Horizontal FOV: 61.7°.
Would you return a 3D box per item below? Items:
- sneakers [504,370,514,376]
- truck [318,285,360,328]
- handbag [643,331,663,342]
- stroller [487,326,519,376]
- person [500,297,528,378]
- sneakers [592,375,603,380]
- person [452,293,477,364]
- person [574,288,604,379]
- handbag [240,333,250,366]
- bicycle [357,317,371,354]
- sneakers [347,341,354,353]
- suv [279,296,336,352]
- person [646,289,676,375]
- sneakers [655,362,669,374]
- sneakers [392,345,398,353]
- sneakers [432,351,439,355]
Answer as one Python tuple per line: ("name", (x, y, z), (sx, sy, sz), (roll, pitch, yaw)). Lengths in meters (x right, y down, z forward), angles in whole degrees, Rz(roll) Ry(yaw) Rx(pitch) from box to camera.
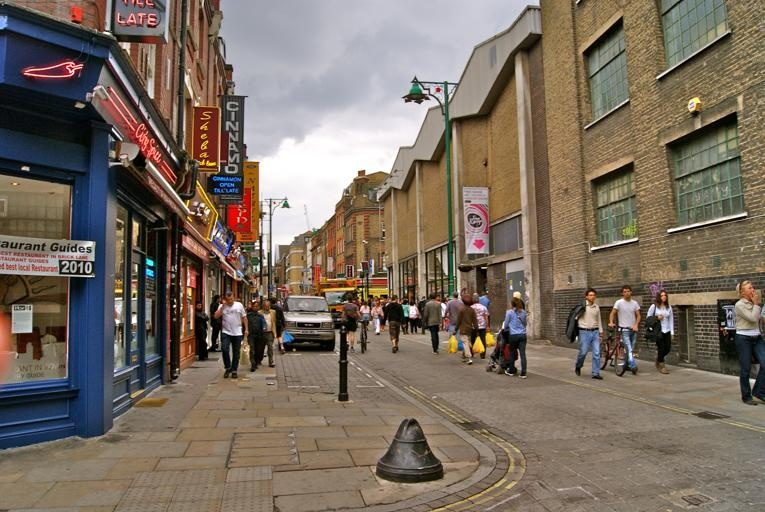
("sneakers", (3.289, 3.021, 16.556), (0.121, 0.148, 0.360), (1, -9, -8))
("truck", (-2.775, 2.802, 40.576), (1.788, 1.850, 3.671), (1, -9, -7))
("handbag", (6.737, 1.989, 15.867), (0.378, 0.300, 0.220), (3, 6, 20))
("stroller", (3.183, 2.593, 17.183), (0.943, 1.718, 1.101), (2, -5, 8))
("person", (3.395, 2.054, 16.403), (0.633, 2.142, 1.073), (2, 6, 12))
("sneakers", (5.245, 2.952, 15.608), (0.233, 0.097, 0.287), (2, 5, 12))
("person", (2.489, 2.181, 19.223), (0.626, 2.139, 1.343), (1, 5, 8))
("person", (5.204, 1.948, 16.044), (0.663, 2.260, 1.205), (3, 6, 18))
("handbag", (-3.570, 2.363, 16.377), (0.223, 0.778, 0.526), (-1, 6, -14))
("bicycle", (-0.739, 3.051, 23.851), (0.619, 0.766, 1.310), (0, -9, -3))
("sneakers", (-1.174, 3.361, 23.447), (0.149, 0.289, 0.463), (1, -11, -9))
("suv", (-2.841, 2.662, 24.263), (1.845, 1.974, 2.100), (0, 5, -9))
("person", (6.913, 1.914, 15.961), (0.725, 2.066, 0.477), (-1, 6, -13))
("sneakers", (7.116, 2.849, 16.226), (0.154, 0.230, 0.517), (-3, -13, 5))
("sneakers", (0.434, 3.346, 23.010), (0.176, 0.222, 0.514), (-1, -14, 0))
("sneakers", (1.831, 3.324, 21.997), (0.181, 0.065, 0.473), (1, 5, 4))
